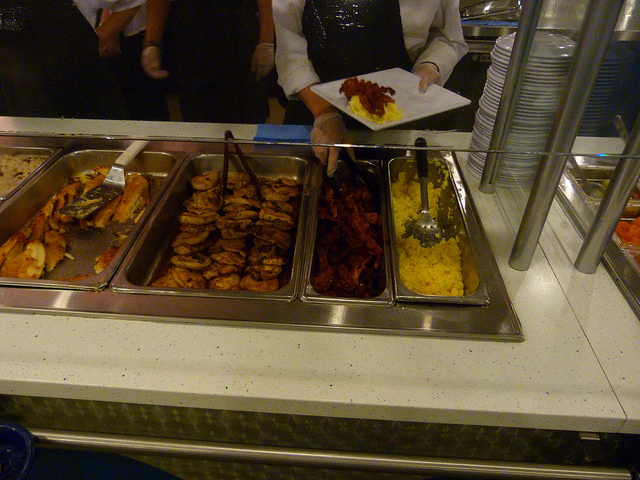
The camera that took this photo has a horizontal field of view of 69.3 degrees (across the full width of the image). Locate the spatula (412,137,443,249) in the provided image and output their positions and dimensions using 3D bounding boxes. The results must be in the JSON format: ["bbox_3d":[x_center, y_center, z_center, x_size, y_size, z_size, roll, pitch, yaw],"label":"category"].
[{"bbox_3d":[0.340,-0.163,1.641,0.126,0.062,0.413,1,72,-19],"label":"spatula"}]

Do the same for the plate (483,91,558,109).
[{"bbox_3d":[0.598,-0.355,1.321,0.127,0.030,0.121,-1,11,-15],"label":"plate"}]

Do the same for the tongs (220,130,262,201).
[{"bbox_3d":[-0.280,-0.253,1.598,0.126,0.043,0.297,-23,61,-13],"label":"tongs"}]

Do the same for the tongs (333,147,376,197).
[{"bbox_3d":[0.120,-0.250,1.696,0.209,0.173,0.149,-1,25,-10],"label":"tongs"}]
